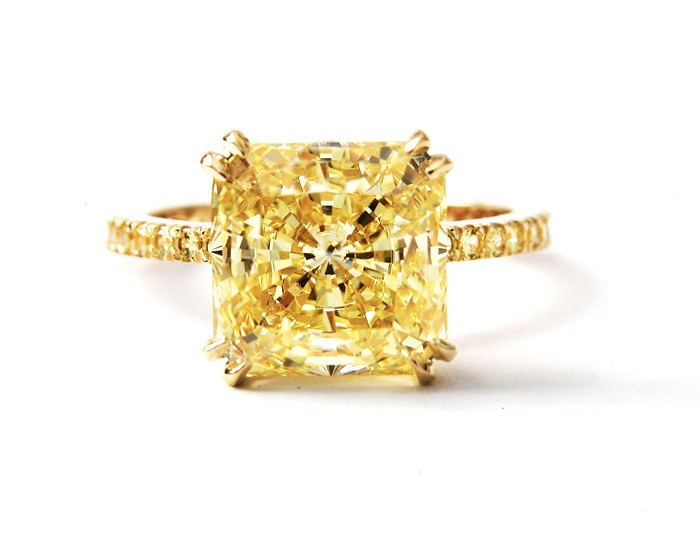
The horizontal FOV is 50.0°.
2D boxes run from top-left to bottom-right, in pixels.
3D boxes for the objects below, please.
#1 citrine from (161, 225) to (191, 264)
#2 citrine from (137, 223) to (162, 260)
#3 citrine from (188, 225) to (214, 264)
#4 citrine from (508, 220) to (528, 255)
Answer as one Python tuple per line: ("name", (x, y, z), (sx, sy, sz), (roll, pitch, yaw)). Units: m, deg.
("citrine", (-0.478, -0.082, 2.069), (0.112, 0.041, 0.088), (4, -98, 34))
("citrine", (-0.571, -0.086, 2.141), (0.031, 0.108, 0.087), (6, -82, -23))
("citrine", (-0.401, -0.076, 1.983), (0.125, 0.041, 0.096), (4, -78, 28))
("citrine", (0.495, -0.101, 2.194), (0.033, 0.098, 0.084), (1, -64, 14))
